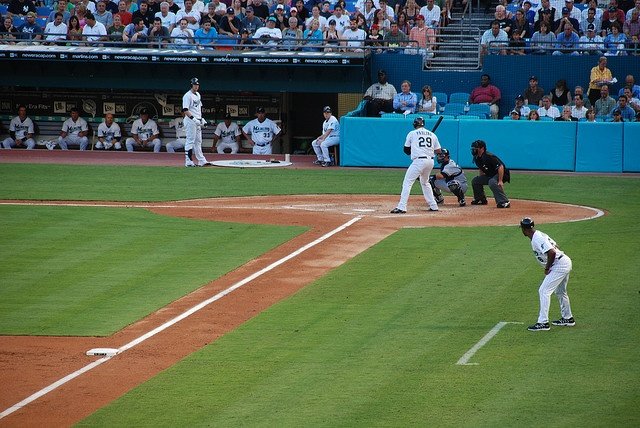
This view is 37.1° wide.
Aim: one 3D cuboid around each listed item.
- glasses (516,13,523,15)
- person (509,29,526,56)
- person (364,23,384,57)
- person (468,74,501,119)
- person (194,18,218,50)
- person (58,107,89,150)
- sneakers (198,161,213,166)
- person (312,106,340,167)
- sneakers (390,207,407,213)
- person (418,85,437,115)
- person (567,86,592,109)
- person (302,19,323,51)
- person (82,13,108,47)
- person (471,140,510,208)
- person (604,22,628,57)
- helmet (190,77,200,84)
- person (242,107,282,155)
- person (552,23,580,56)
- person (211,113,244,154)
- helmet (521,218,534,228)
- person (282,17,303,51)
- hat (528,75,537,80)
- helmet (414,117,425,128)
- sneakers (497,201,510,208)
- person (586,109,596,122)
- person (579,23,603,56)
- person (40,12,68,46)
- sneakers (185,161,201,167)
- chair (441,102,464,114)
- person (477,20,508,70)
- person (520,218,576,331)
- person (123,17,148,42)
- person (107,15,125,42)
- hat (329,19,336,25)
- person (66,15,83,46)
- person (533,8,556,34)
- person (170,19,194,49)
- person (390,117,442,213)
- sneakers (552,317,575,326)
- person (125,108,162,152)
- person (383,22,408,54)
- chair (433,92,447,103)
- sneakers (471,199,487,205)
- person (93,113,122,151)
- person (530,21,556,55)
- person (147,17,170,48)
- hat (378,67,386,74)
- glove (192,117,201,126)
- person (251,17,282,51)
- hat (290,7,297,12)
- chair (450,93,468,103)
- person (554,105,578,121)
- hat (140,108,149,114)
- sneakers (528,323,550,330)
[{"bbox_3d":[6.799,-6.760,32.369,0.121,0.082,0.139,-3,4,-16],"label":"glasses"},{"bbox_3d":[6.728,-5.817,32.424,0.595,0.847,1.086,2,6,11],"label":"person"},{"bbox_3d":[1.943,-6.086,33.280,0.616,0.959,1.497,1,6,2],"label":"person"},{"bbox_3d":[5.430,-3.759,31.718,1.356,1.570,1.092,-1,15,9],"label":"person"},{"bbox_3d":[-4.003,-6.324,33.748,0.806,1.102,1.430,0,6,-7],"label":"person"},{"bbox_3d":[-9.193,-3.008,35.630,1.282,1.525,1.041,-7,19,-26],"label":"person"},{"bbox_3d":[-3.682,-1.574,30.718,0.491,0.164,0.138,-4,37,-6],"label":"sneakers"},{"bbox_3d":[0.206,-2.518,31.486,0.866,1.926,1.154,1,7,-2],"label":"person"},{"bbox_3d":[1.957,-0.078,23.684,0.363,0.136,0.110,4,44,3],"label":"sneakers"},{"bbox_3d":[3.508,-3.650,30.934,0.596,0.907,0.883,1,7,4],"label":"person"},{"bbox_3d":[8.333,-3.796,30.269,0.785,0.814,0.332,-2,-14,13],"label":"person"},{"bbox_3d":[-0.239,-6.221,33.505,0.699,1.163,1.850,1,6,0],"label":"person"},{"bbox_3d":[-8.094,-6.588,34.301,0.854,1.159,1.241,-1,7,-13],"label":"person"},{"bbox_3d":[4.374,-0.987,24.320,0.965,1.697,1.010,2,7,10],"label":"person"},{"bbox_3d":[9.860,-5.775,31.690,0.750,1.114,1.277,3,7,15],"label":"person"},{"bbox_3d":[-3.847,-4.094,29.405,0.342,0.279,0.404,-1,2,-6],"label":"helmet"},{"bbox_3d":[-2.053,-2.869,33.528,1.226,1.620,0.540,0,7,-6],"label":"person"},{"bbox_3d":[8.315,-5.834,32.103,0.862,1.084,1.338,2,7,12],"label":"person"},{"bbox_3d":[-3.341,-2.767,34.587,1.192,1.474,0.959,-1,20,7],"label":"person"},{"bbox_3d":[3.857,0.174,17.725,0.211,0.177,0.280,2,6,11],"label":"helmet"},{"bbox_3d":[-0.949,-6.299,33.623,0.717,1.188,1.582,1,6,-3],"label":"person"},{"bbox_3d":[6.928,-4.358,30.847,0.249,0.192,0.284,-1,-8,-9],"label":"hat"},{"bbox_3d":[2.428,-2.251,23.740,0.330,0.248,0.237,5,8,21],"label":"helmet"},{"bbox_3d":[4.701,-0.219,24.334,0.321,0.151,0.129,2,15,4],"label":"sneakers"},{"bbox_3d":[8.454,-3.043,29.753,0.258,0.369,0.811,3,6,15],"label":"person"},{"bbox_3d":[9.136,-5.770,32.067,0.870,0.982,0.710,-9,16,-3],"label":"person"},{"bbox_3d":[-9.548,-6.698,34.527,0.822,1.248,1.808,-1,6,-15],"label":"person"},{"bbox_3d":[-4.127,-1.594,30.641,0.610,0.219,0.161,-2,33,-5],"label":"sneakers"},{"bbox_3d":[4.387,-3.393,31.333,0.715,0.393,0.529,2,6,9],"label":"chair"},{"bbox_3d":[5.997,-5.781,32.828,1.186,1.381,1.092,-10,28,-16],"label":"person"},{"bbox_3d":[4.347,1.125,17.947,0.880,2.101,0.887,5,8,29],"label":"person"},{"bbox_3d":[-6.633,-6.574,34.183,0.873,0.899,0.809,1,7,2],"label":"person"},{"bbox_3d":[-7.374,-6.694,34.537,0.604,0.968,1.149,0,7,-12],"label":"person"},{"bbox_3d":[0.441,-6.719,33.555,0.213,0.212,0.233,-3,14,-3],"label":"hat"},{"bbox_3d":[-8.863,-6.587,34.514,0.517,1.117,1.487,-1,7,-15],"label":"person"},{"bbox_3d":[7.663,-6.576,32.365,0.683,0.614,0.914,0,6,3],"label":"person"},{"bbox_3d":[-4.857,-6.330,33.814,0.799,1.029,1.483,0,6,-9],"label":"person"},{"bbox_3d":[2.462,-1.194,23.864,1.032,2.381,1.104,3,7,12],"label":"person"},{"bbox_3d":[4.625,2.054,18.117,0.488,0.146,0.151,1,7,3],"label":"sneakers"},{"bbox_3d":[-6.544,-2.956,35.182,1.415,1.530,1.080,0,22,-19],"label":"person"},{"bbox_3d":[2.605,-6.088,33.344,0.997,0.981,0.952,-21,29,-39],"label":"person"},{"bbox_3d":[4.127,-3.869,32.377,0.443,0.431,0.425,0,-4,-6],"label":"chair"},{"bbox_3d":[4.156,-0.278,24.861,0.407,0.133,0.127,3,24,2],"label":"sneakers"},{"bbox_3d":[-7.884,-3.027,35.639,1.020,1.306,0.665,1,7,4],"label":"person"},{"bbox_3d":[7.591,-5.867,32.258,1.044,1.089,0.830,-2,22,5],"label":"person"},{"bbox_3d":[-5.721,-6.386,33.928,0.750,1.065,1.145,0,7,-10],"label":"person"},{"bbox_3d":[2.058,-4.734,31.668,0.363,0.150,0.448,0,6,3],"label":"hat"},{"bbox_3d":[-3.809,-2.844,29.592,0.116,0.269,0.402,4,7,20],"label":"glove"},{"bbox_3d":[-1.807,-6.306,33.581,1.059,1.149,1.243,2,10,-10],"label":"person"},{"bbox_3d":[-0.943,-7.356,34.437,0.336,0.128,0.463,1,-1,2],"label":"hat"},{"bbox_3d":[4.702,-3.858,32.155,0.441,0.452,0.433,0,-1,6],"label":"chair"},{"bbox_3d":[7.736,-3.054,29.892,0.881,0.539,0.464,-1,-6,13],"label":"person"},{"bbox_3d":[-6.475,-3.735,35.151,0.367,0.264,0.320,-6,11,-9],"label":"hat"},{"bbox_3d":[4.120,2.122,17.906,0.438,0.129,0.135,0,6,-2],"label":"sneakers"}]
